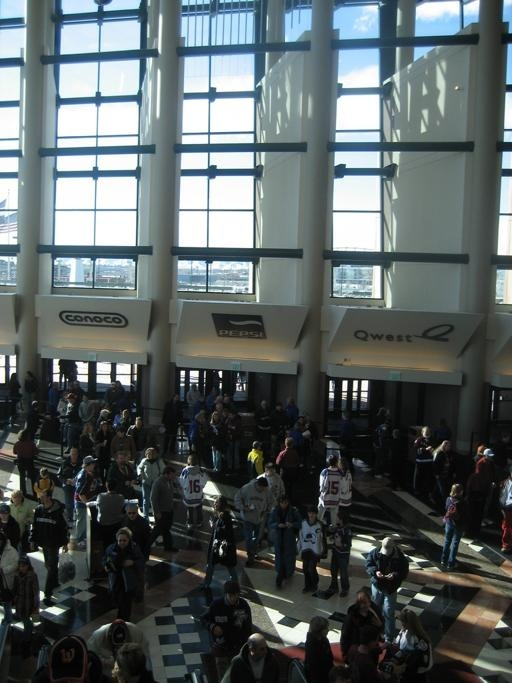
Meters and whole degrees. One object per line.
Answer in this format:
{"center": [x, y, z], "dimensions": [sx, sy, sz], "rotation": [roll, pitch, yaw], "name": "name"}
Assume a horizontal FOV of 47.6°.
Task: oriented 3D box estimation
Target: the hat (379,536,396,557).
{"center": [1.441, 2.176, 6.314], "dimensions": [0.164, 0.286, 0.143], "rotation": [3, -30, 17], "name": "hat"}

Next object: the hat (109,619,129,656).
{"center": [-1.008, 2.182, 4.327], "dimensions": [0.099, 0.325, 0.138], "rotation": [7, -38, -10], "name": "hat"}

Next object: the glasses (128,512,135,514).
{"center": [-1.471, 2.045, 6.877], "dimensions": [0.040, 0.014, 0.044], "rotation": [1, -5, 1], "name": "glasses"}
